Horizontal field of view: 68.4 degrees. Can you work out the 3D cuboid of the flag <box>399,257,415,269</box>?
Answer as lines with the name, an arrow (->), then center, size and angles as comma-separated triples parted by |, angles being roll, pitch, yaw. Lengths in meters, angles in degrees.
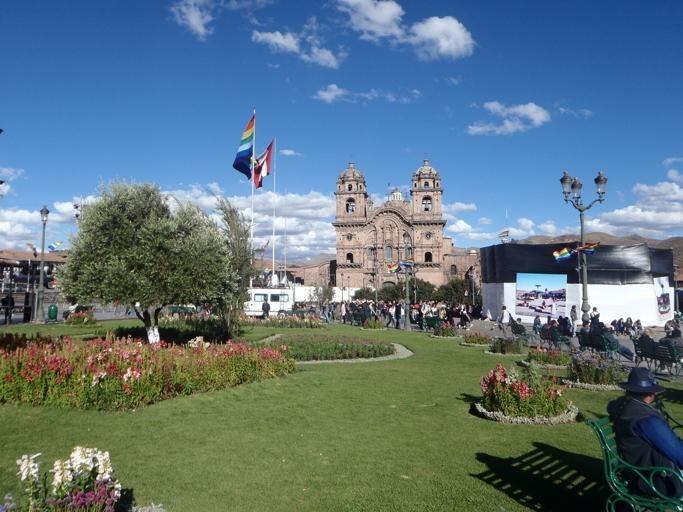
flag -> 6.632, 0.683, 50.325 | 1.529, 1.291, 0.142 | 0, -8, -9

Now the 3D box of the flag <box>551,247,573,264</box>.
flag -> 12.703, -0.013, 28.910 | 0.968, 0.760, 0.157 | -14, -16, 1

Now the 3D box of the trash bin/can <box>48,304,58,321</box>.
trash bin/can -> -17.411, 3.444, 30.381 | 0.410, 0.935, 0.786 | 3, -8, -38

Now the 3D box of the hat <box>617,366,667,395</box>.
hat -> 4.471, 1.845, 7.410 | 0.594, 0.280, 0.612 | -3, 3, -28

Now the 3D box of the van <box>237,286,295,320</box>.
van -> -5.372, 3.247, 37.287 | 2.954, 1.909, 1.989 | 2, -9, -10

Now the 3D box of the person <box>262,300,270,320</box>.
person -> -4.905, 3.509, 32.719 | 0.338, 1.133, 1.974 | 0, -7, -12

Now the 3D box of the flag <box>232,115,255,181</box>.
flag -> -5.729, -6.440, 30.140 | 1.311, 3.603, 0.970 | -2, -6, 10

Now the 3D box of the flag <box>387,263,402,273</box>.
flag -> 4.641, 1.123, 44.025 | 1.587, 1.274, 0.122 | 0, -15, -6
